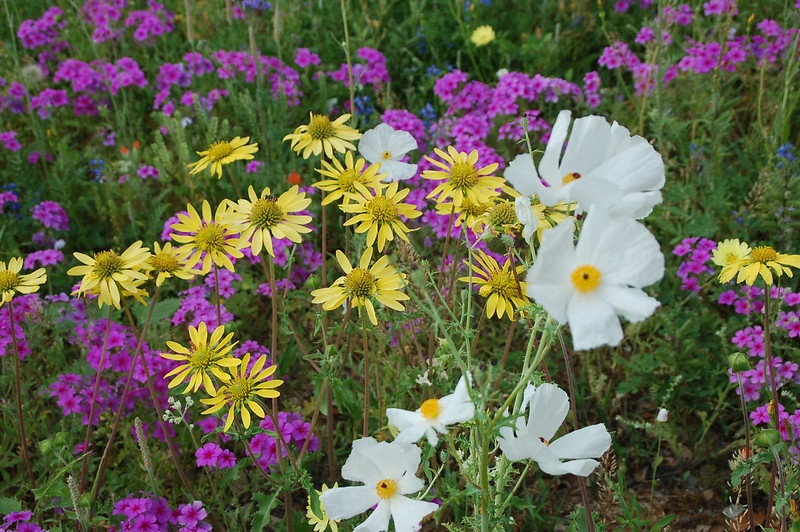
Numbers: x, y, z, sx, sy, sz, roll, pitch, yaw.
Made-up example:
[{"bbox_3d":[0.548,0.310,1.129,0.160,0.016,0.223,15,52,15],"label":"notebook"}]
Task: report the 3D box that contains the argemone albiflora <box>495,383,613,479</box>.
[{"bbox_3d":[0.727,0.815,3.674,0.385,0.219,0.465,4,35,-14],"label":"argemone albiflora"}]
